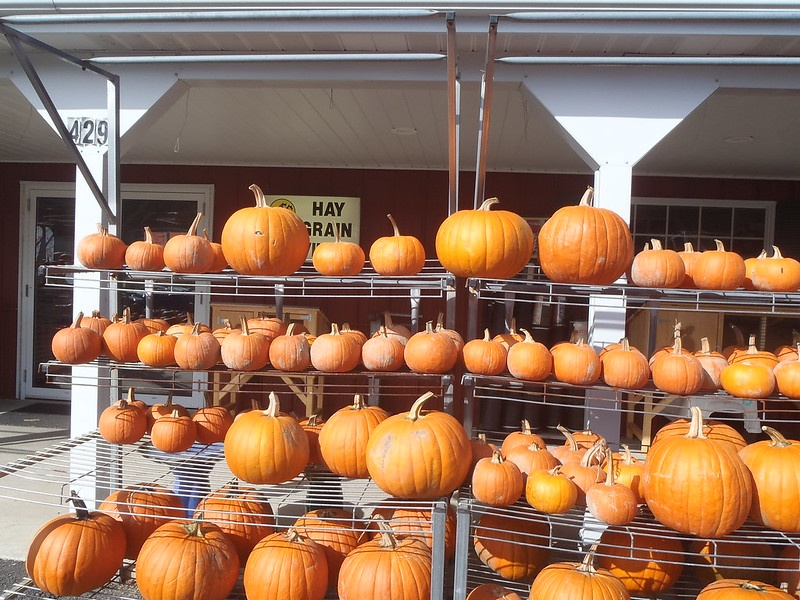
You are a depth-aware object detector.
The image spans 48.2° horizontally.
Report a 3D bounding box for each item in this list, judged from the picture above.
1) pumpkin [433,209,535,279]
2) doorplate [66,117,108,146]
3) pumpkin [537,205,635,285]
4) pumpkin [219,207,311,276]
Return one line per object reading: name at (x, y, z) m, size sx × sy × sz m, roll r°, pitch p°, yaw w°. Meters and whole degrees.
pumpkin at (0.530, -0.361, 5.681) m, size 0.459 × 0.457 × 0.490 m, roll -1°, pitch 5°, yaw 3°
doorplate at (-2.260, -1.226, 6.513) m, size 0.268 × 0.222 × 0.036 m, roll 0°, pitch -2°, yaw 3°
pumpkin at (1.177, -0.345, 5.671) m, size 0.482 × 0.507 × 0.510 m, roll -1°, pitch 4°, yaw -4°
pumpkin at (-0.895, -0.433, 5.896) m, size 0.448 × 0.458 × 0.480 m, roll 0°, pitch 7°, yaw 4°
